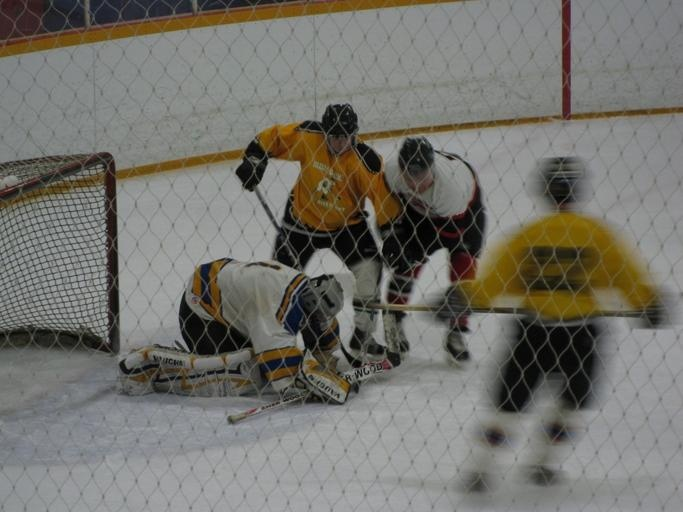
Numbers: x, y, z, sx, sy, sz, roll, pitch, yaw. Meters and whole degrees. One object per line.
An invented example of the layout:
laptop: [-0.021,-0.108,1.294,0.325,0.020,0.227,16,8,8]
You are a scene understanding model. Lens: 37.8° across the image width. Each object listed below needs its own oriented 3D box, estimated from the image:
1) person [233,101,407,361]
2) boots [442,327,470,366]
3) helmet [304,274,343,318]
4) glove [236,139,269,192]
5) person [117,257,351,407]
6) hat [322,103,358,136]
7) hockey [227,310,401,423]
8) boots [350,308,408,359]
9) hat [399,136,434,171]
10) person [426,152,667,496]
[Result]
person: [-0.101,-0.178,6.347,0.999,1.670,0.824,12,24,15]
boots: [0.704,0.524,6.100,0.160,0.124,0.326,-4,29,6]
helmet: [-0.117,0.241,5.836,0.277,0.301,0.239,4,2,5]
glove: [-0.558,-0.566,6.286,0.174,0.335,0.126,13,-24,43]
person: [-0.593,0.448,5.698,0.964,0.668,0.841,1,20,4]
hat: [-0.020,-0.823,6.050,0.166,0.217,0.202,0,4,1]
hockey: [-0.084,0.746,5.688,1.190,0.424,0.334,2,0,-34]
boots: [0.242,0.458,6.208,0.350,0.414,0.243,2,31,5]
hat: [0.450,-0.619,6.011,0.149,0.193,0.213,0,10,3]
person: [1.123,0.394,5.303,1.126,1.984,0.634,-2,27,-3]
